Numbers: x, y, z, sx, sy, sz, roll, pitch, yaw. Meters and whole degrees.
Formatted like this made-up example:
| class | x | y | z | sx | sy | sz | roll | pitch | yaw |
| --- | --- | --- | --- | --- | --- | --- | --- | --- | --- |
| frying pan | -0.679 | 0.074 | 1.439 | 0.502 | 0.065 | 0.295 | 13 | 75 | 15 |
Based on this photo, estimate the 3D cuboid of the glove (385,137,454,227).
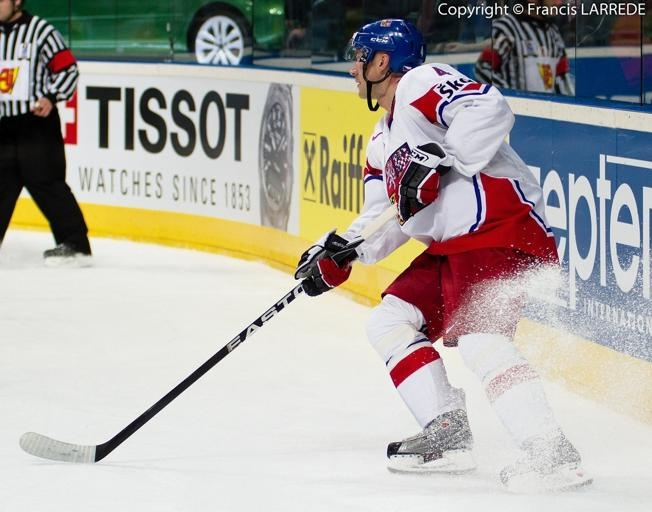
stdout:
| class | x | y | z | sx | sy | sz | roll | pitch | yaw |
| --- | --- | --- | --- | --- | --- | --- | --- | --- | --- |
| glove | 0.321 | -0.265 | 3.183 | 0.106 | 0.277 | 0.189 | -11 | 43 | -43 |

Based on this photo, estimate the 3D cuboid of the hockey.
| class | x | y | z | sx | sy | sz | roll | pitch | yaw |
| --- | --- | --- | --- | --- | --- | --- | --- | --- | --- |
| hockey | -0.513 | 0.417 | 4.047 | 0.252 | 0.046 | 1.939 | 41 | 39 | 12 |

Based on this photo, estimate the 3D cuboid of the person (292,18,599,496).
| class | x | y | z | sx | sy | sz | roll | pitch | yaw |
| --- | --- | --- | --- | --- | --- | --- | --- | --- | --- |
| person | 0.444 | -0.023 | 3.261 | 1.070 | 1.622 | 0.502 | 10 | 16 | 42 |

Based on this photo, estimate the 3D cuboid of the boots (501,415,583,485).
| class | x | y | z | sx | sy | sz | roll | pitch | yaw |
| --- | --- | --- | --- | --- | --- | --- | --- | --- | --- |
| boots | 0.730 | 0.682 | 3.150 | 0.251 | 0.200 | 0.165 | -4 | -6 | 8 |

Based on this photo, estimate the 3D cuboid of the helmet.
| class | x | y | z | sx | sy | sz | roll | pitch | yaw |
| --- | --- | --- | --- | --- | --- | --- | --- | --- | --- |
| helmet | 0.227 | -0.794 | 3.402 | 0.218 | 0.162 | 0.185 | 11 | 15 | 25 |

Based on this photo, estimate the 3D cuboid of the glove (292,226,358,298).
| class | x | y | z | sx | sy | sz | roll | pitch | yaw |
| --- | --- | --- | --- | --- | --- | --- | --- | --- | --- |
| glove | -0.008 | 0.013 | 3.502 | 0.278 | 0.170 | 0.134 | -38 | 42 | 10 |
